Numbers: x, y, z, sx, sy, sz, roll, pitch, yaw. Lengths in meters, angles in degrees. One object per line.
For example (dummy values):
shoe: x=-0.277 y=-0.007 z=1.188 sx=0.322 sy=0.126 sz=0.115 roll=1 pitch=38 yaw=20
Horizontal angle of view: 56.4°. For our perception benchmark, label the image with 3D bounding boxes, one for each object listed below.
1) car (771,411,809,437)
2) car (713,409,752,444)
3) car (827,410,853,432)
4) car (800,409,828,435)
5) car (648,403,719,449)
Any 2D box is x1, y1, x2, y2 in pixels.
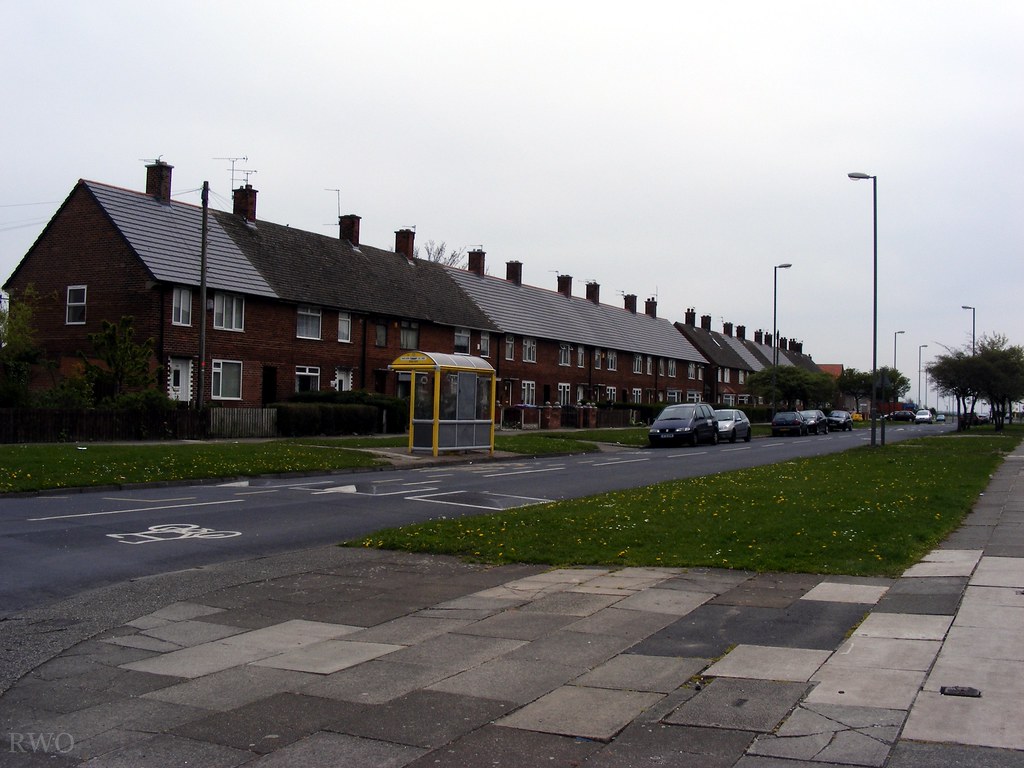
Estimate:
car: x=16.380 y=2.388 z=56.241 sx=1.307 sy=0.947 sz=3.053 roll=-2 pitch=-4 yaw=21
car: x=10.766 y=2.060 z=47.036 sx=1.238 sy=0.886 sz=2.587 roll=-3 pitch=-6 yaw=27
car: x=22.641 y=2.525 z=66.432 sx=1.657 sy=1.404 sz=3.220 roll=-3 pitch=-5 yaw=29
car: x=18.212 y=2.261 z=58.033 sx=1.113 sy=0.852 sz=2.442 roll=-3 pitch=-6 yaw=30
car: x=7.431 y=1.785 z=42.178 sx=1.737 sy=1.326 sz=3.068 roll=-4 pitch=-6 yaw=28
